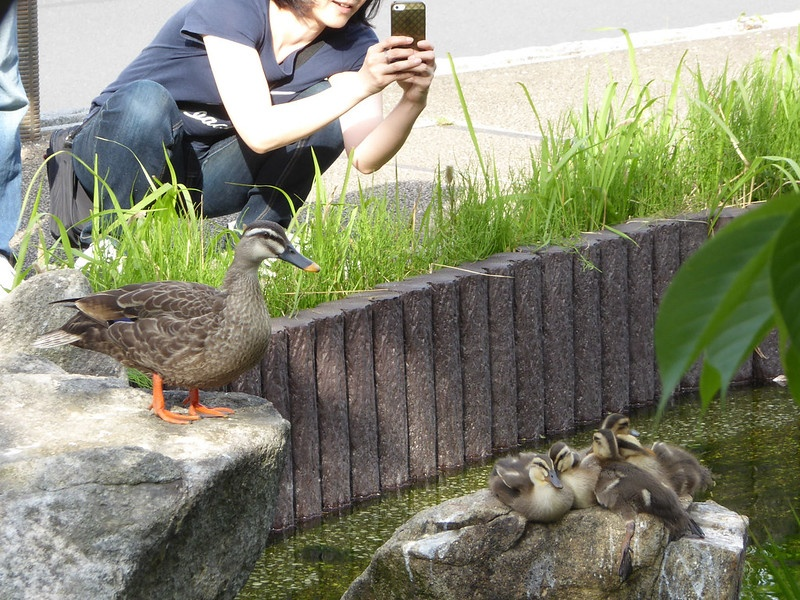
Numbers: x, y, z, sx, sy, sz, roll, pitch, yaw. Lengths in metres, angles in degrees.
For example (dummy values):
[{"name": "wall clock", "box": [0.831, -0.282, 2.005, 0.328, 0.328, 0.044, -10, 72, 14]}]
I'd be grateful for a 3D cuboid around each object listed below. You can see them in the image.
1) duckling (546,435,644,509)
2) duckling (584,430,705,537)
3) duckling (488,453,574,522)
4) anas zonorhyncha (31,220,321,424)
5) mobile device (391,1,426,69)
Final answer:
[{"name": "duckling", "box": [0.790, 0.731, 4.341, 0.304, 0.352, 0.464, -1, 22, 37]}, {"name": "duckling", "box": [0.991, 0.818, 4.111, 0.314, 0.345, 0.530, -19, 23, -41]}, {"name": "duckling", "box": [0.554, 0.763, 4.182, 0.219, 0.259, 0.337, -23, 32, -24]}, {"name": "anas zonorhyncha", "box": [-0.970, 0.036, 3.972, 1.021, 0.851, 0.534, 11, 13, 12]}, {"name": "mobile device", "box": [0.039, -1.454, 5.293, 0.133, 0.311, 0.136, -6, 16, -21]}]
